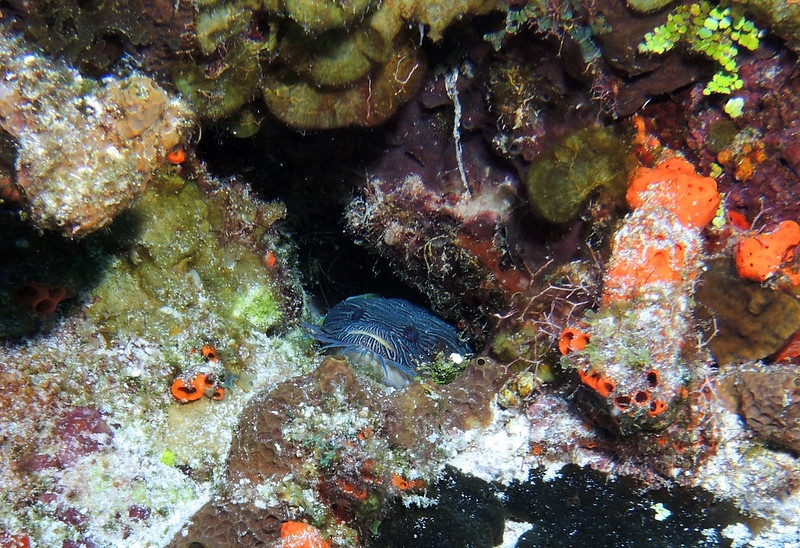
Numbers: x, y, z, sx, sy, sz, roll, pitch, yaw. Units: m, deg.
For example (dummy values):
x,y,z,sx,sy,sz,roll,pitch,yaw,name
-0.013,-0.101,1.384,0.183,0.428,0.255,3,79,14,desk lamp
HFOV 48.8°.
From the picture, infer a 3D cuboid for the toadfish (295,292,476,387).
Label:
x,y,z,sx,sy,sz,roll,pitch,yaw,name
-0.097,0.536,7.923,0.751,1.044,0.338,23,101,1,toadfish
